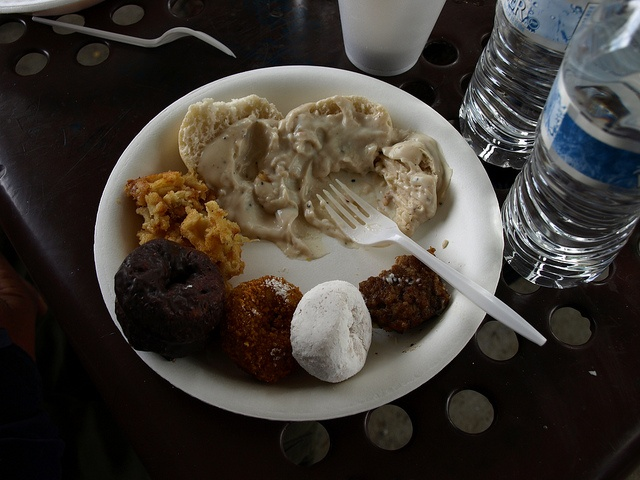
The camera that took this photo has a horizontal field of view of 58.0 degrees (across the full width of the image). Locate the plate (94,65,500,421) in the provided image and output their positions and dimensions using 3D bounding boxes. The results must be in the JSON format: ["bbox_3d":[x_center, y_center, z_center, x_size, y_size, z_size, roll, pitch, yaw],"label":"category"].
[{"bbox_3d":[-0.040,-0.027,1.035,0.719,0.125,0.672,16,76,2],"label":"plate"}]
